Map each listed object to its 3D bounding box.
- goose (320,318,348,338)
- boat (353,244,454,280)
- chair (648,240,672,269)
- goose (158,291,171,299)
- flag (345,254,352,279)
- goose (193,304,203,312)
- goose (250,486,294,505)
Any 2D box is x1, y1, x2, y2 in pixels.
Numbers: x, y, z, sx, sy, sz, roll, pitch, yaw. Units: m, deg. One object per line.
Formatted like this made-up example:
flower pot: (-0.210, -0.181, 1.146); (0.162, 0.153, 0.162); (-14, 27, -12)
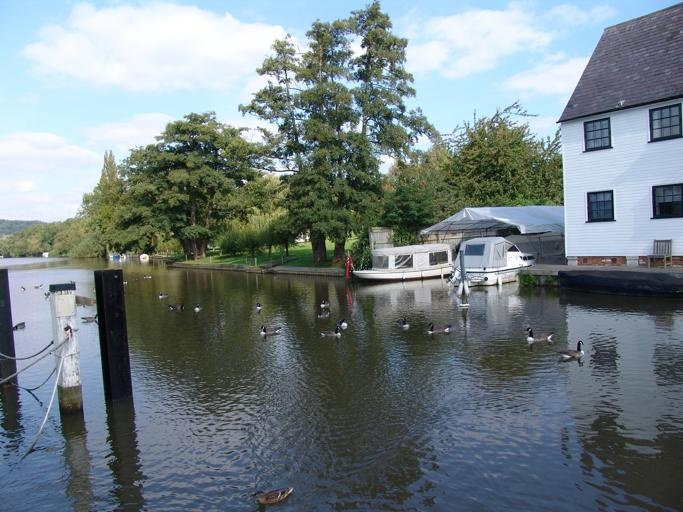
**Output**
goose: (-0.414, 3.008, 24.033); (1.355, 0.958, 0.446); (-3, 5, -4)
boat: (4.779, 0.597, 41.610); (6.166, 1.816, 2.959); (-4, 7, -12)
chair: (17.123, -0.176, 31.576); (1.055, 1.399, 0.910); (10, 19, 43)
goose: (-11.671, 2.573, 38.674); (0.560, 0.542, 0.828); (0, 3, -28)
flag: (0.545, 0.793, 43.200); (0.454, 1.841, 1.266); (-3, 14, 0)
goose: (-7.751, 2.807, 31.654); (0.332, 0.251, 0.605); (5, 1, -4)
goose: (-1.500, 5.279, 13.023); (0.746, 0.245, 0.359); (-4, 16, -12)
